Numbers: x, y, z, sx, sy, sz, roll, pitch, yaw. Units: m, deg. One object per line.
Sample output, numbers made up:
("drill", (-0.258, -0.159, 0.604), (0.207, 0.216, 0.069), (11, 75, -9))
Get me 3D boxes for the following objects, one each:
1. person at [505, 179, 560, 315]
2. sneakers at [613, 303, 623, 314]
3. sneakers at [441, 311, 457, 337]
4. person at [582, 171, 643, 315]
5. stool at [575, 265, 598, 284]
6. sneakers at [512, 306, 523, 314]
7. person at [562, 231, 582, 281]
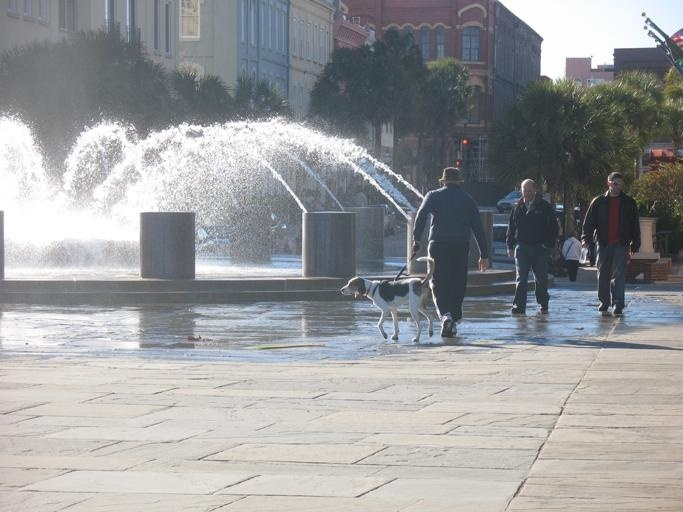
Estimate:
("person", (2.504, -0.140, 18.329), (0.649, 1.744, 1.123), (1, 2, 7))
("sneakers", (3.567, 0.655, 17.935), (0.115, 0.168, 0.131), (-1, -5, 21))
("sneakers", (1.193, 0.752, 15.566), (0.161, 0.263, 0.272), (1, 2, 4))
("person", (3.454, -0.174, 17.919), (0.743, 1.826, 0.692), (1, 2, 10))
("stool", (4.509, 0.334, 25.427), (0.469, 0.305, 0.447), (0, 0, -28))
("sneakers", (2.293, 0.692, 18.150), (0.124, 0.070, 0.088), (1, 2, 10))
("person", (4.404, 0.024, 26.730), (0.387, 0.801, 1.521), (1, 2, 9))
